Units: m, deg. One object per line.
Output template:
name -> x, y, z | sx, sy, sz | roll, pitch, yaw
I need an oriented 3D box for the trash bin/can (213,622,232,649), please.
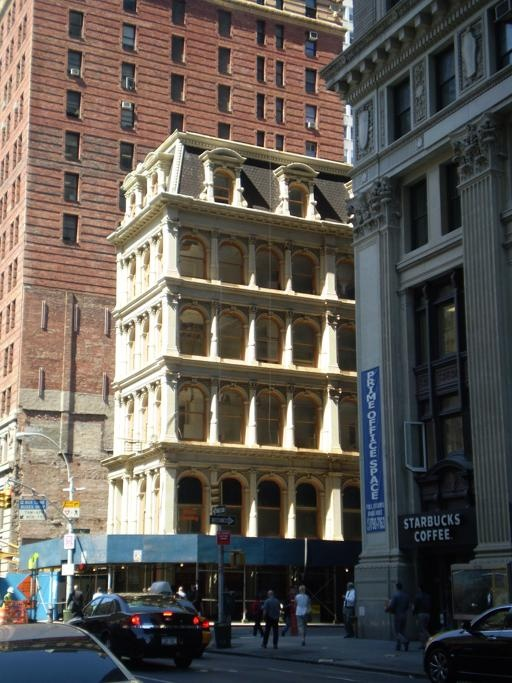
trash bin/can -> -0.842, 7.404, 27.117 | 0.333, 0.671, 0.457 | 2, -17, -11

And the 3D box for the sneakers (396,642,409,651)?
sneakers -> 3.353, 7.057, 24.897 | 0.251, 0.117, 0.343 | 16, 0, 7
